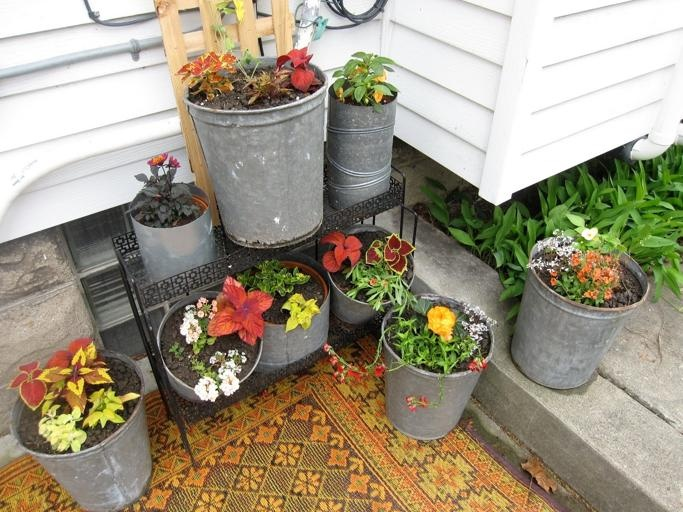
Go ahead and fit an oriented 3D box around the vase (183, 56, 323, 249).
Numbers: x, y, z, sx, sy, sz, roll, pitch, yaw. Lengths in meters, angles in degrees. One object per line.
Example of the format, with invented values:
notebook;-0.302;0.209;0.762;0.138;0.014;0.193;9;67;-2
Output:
vase;-0.328;-0.374;2.220;0.485;0.541;0.476;-13;22;-30

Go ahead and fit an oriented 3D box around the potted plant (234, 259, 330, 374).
potted plant;-0.304;0.316;2.675;0.486;0.323;0.541;12;77;-17

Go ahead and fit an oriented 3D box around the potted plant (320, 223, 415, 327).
potted plant;0.115;0.041;2.695;0.522;0.443;0.596;3;46;1

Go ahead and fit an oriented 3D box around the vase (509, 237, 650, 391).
vase;1.252;0.346;2.625;0.552;0.639;0.566;-18;37;-26

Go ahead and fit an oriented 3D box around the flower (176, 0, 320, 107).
flower;-0.392;-0.763;2.065;0.550;0.134;0.571;6;54;1

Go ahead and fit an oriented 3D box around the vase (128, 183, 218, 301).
vase;-0.688;-0.048;2.325;0.408;0.495;0.442;0;44;-4

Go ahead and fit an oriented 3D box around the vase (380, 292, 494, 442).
vase;0.498;0.651;2.663;0.558;0.600;0.542;-29;44;-32
